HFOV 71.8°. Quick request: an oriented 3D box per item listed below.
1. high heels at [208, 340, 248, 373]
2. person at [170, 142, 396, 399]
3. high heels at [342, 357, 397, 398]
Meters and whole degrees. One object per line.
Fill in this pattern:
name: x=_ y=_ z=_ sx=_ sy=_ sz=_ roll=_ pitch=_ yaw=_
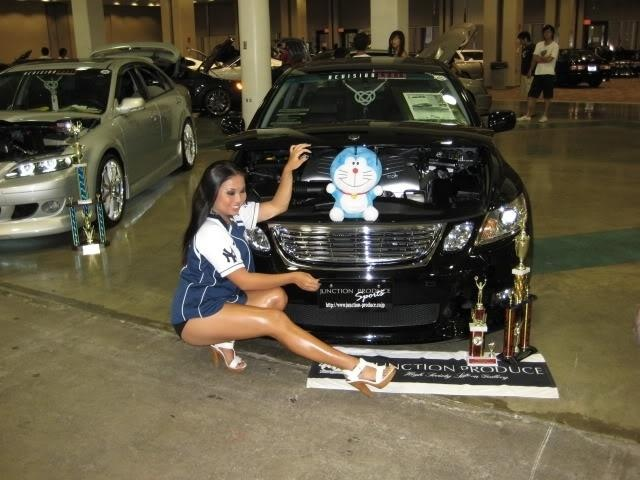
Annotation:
high heels: x=-0.569 y=0.642 z=2.620 sx=0.123 sy=0.115 sz=0.307 roll=-14 pitch=27 yaw=-39
person: x=-0.074 y=0.146 z=2.363 sx=1.349 sy=1.016 sz=0.820 roll=22 pitch=27 yaw=21
high heels: x=0.254 y=0.690 z=2.226 sx=0.292 sy=0.143 sz=0.099 roll=4 pitch=15 yaw=1
